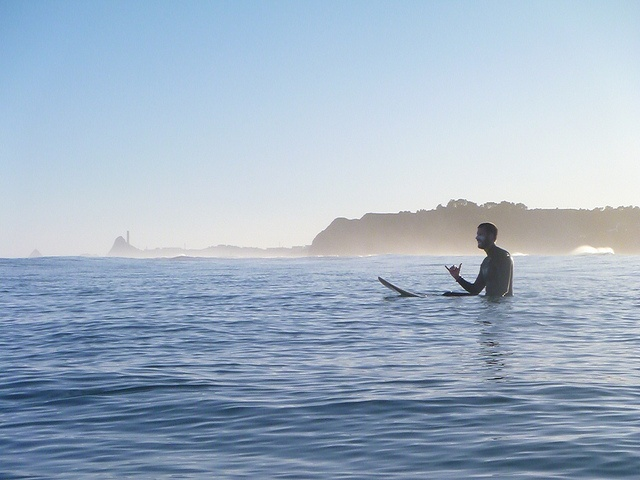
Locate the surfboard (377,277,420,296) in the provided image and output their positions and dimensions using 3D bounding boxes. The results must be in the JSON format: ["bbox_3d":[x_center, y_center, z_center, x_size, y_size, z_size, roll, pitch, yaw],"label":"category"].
[{"bbox_3d":[4.294,2.490,30.584,0.476,0.503,3.290,-19,28,-35],"label":"surfboard"}]
